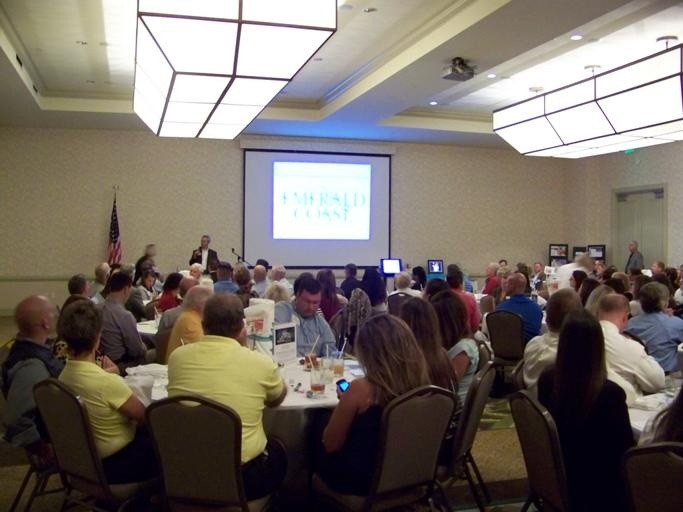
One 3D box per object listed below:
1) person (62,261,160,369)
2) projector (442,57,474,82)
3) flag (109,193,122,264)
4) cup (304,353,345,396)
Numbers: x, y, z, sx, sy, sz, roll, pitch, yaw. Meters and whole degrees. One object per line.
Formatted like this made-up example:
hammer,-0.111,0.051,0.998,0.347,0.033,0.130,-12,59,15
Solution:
person,-2.076,0.544,4.587,0.607,1.357,0.772,10,17,11
projector,1.589,-2.507,6.723,0.261,0.184,0.248,0,-5,-16
flag,-4.537,-0.549,9.855,0.259,1.419,0.574,0,2,-26
cup,-0.125,0.792,3.292,0.133,0.179,0.281,1,3,15
